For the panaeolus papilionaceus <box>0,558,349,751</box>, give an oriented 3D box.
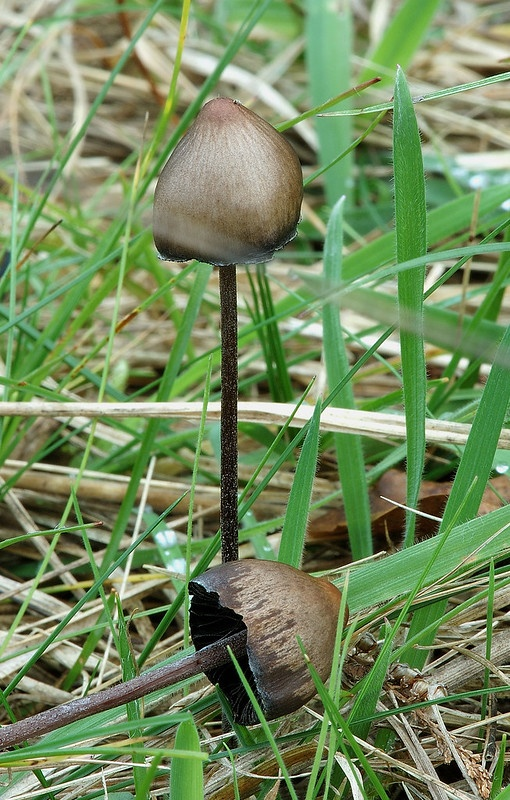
[{"bbox_3d":[-0.056,0.263,0.935,0.436,0.191,0.183,-12,76,-26],"label":"panaeolus papilionaceus"}]
